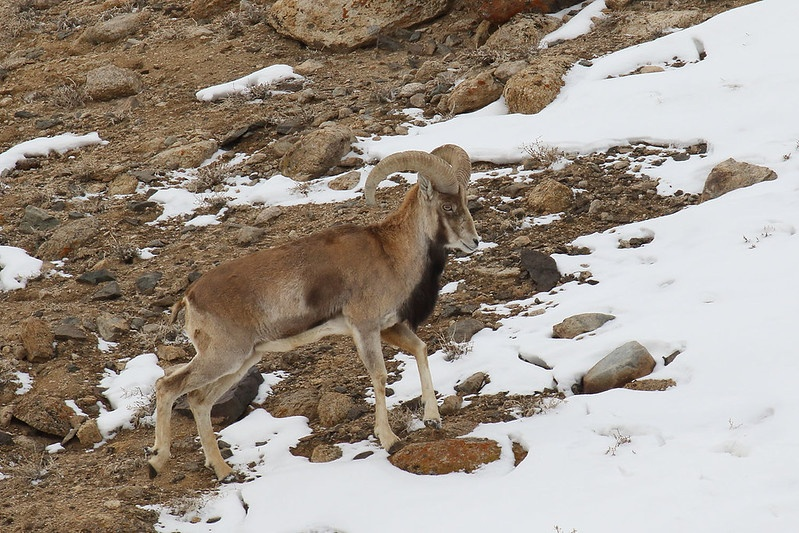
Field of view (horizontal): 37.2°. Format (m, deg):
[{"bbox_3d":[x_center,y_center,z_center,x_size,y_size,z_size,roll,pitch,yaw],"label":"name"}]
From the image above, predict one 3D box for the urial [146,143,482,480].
[{"bbox_3d":[-1.391,0.953,20.392,6.428,4.708,1.755,-12,-6,7],"label":"urial"}]
